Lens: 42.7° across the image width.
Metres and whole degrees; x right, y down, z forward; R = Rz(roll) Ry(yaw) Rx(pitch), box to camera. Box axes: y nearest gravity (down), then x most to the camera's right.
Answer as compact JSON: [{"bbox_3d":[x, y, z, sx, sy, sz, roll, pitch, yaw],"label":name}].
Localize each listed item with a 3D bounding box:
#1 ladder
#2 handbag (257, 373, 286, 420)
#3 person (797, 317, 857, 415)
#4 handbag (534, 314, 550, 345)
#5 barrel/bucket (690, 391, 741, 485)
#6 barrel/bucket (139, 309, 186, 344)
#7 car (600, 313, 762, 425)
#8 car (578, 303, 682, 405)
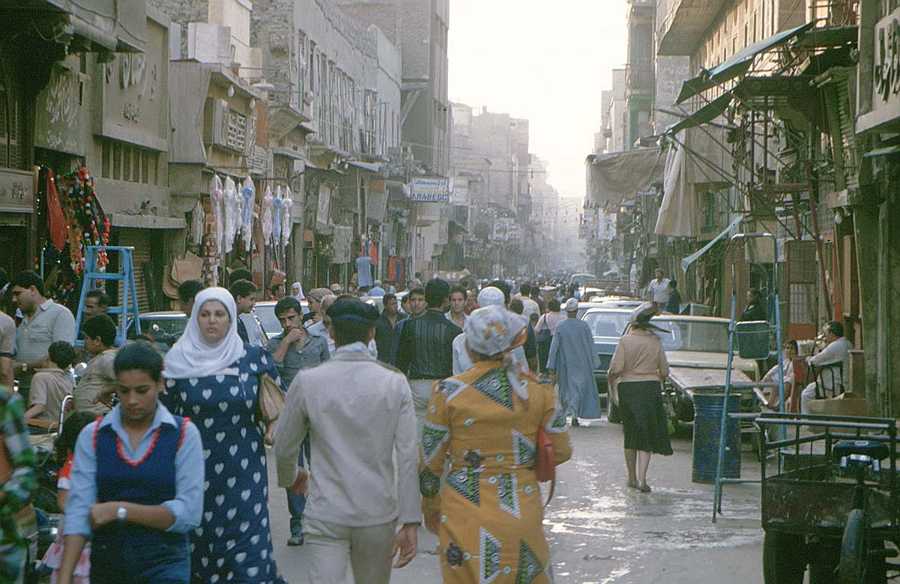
[{"bbox_3d":[-4.876,0.038,16.216,0.964,1.769,0.748,1,0,28],"label":"ladder"},{"bbox_3d":[-1.572,0.909,10.071,0.220,0.422,0.114,0,-3,-5],"label":"handbag"},{"bbox_3d":[5.418,0.979,16.544,0.975,1.868,0.731,0,0,27],"label":"person"},{"bbox_3d":[1.783,0.713,22.250,0.320,0.605,0.415,6,-14,-6],"label":"handbag"},{"bbox_3d":[3.332,1.828,14.464,0.618,1.144,0.646,1,0,0],"label":"barrel/bucket"},{"bbox_3d":[-3.984,0.467,15.960,0.304,0.275,0.537,1,9,1],"label":"barrel/bucket"},{"bbox_3d":[4.091,1.193,19.027,2.287,1.677,3.336,1,0,3],"label":"car"},{"bbox_3d":[2.803,0.978,18.010,1.766,1.636,3.178,-1,1,3],"label":"car"}]
